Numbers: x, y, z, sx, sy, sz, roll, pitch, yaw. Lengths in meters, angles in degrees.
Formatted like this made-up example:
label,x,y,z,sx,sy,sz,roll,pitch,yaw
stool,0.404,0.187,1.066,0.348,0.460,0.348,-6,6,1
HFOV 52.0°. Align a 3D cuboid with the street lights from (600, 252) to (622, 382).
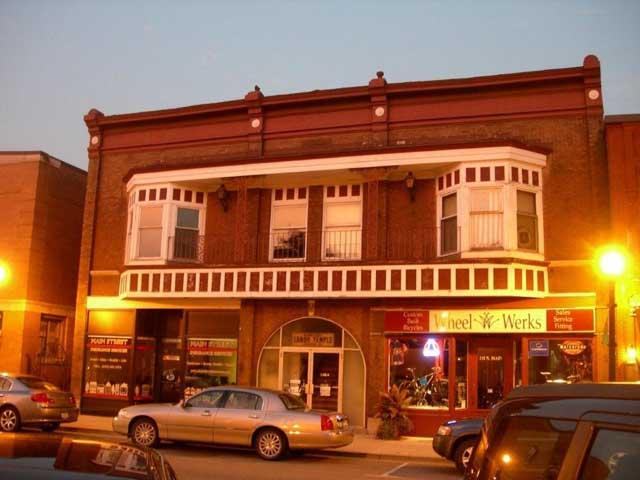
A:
label,x,y,z,sx,sy,sz,roll,pitch,yaw
street lights,7.184,1.787,16.331,0.648,2.223,0.666,1,-42,20
